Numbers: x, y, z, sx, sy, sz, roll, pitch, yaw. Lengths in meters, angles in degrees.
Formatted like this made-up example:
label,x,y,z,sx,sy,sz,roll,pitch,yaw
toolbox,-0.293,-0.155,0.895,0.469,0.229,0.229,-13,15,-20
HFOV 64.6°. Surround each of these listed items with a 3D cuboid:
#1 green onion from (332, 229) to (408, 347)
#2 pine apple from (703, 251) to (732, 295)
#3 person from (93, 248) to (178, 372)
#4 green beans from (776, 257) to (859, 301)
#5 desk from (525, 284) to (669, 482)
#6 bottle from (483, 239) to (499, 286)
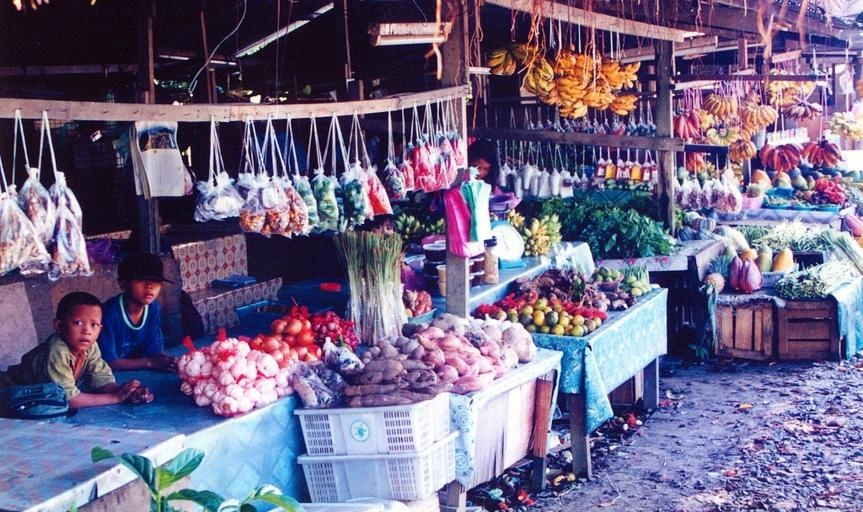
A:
label,x,y,z,sx,sy,sz,roll,pitch,yaw
green onion,-0.511,0.232,5.895,0.466,1.138,0.464,1,0,-11
pine apple,3.590,0.239,8.528,0.302,0.319,0.547,18,55,14
person,-2.409,0.449,5.609,0.478,1.070,0.501,2,1,-1
green beans,4.829,0.252,8.429,0.898,0.233,0.512,-23,24,-39
desk,1.787,1.215,6.891,1.534,1.820,1.249,1,-1,9
bottle,0.610,0.030,6.932,0.151,0.475,0.393,-3,9,5
